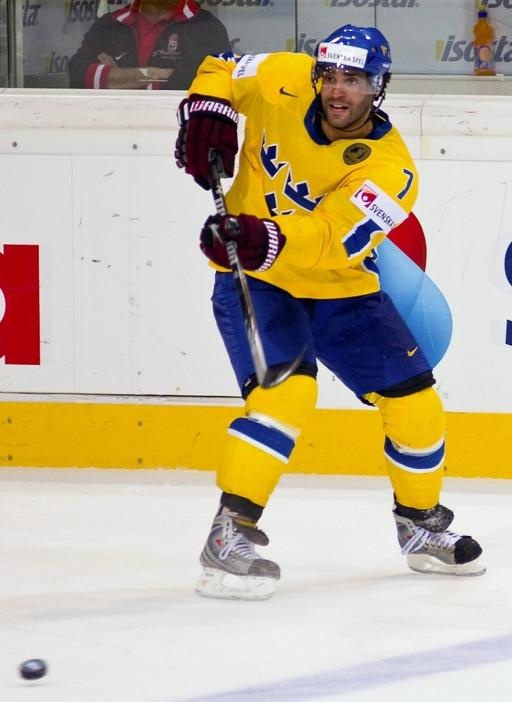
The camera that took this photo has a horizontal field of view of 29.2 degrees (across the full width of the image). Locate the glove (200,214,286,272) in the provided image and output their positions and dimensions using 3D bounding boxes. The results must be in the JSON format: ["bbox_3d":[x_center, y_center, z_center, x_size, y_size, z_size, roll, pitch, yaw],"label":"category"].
[{"bbox_3d":[-0.025,-0.226,2.083,0.161,0.116,0.140,-1,9,-16],"label":"glove"}]

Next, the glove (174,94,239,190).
[{"bbox_3d":[-0.117,-0.495,2.419,0.119,0.215,0.193,0,-2,-35],"label":"glove"}]

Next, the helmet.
[{"bbox_3d":[0.229,-0.650,2.211,0.175,0.155,0.188,14,24,27],"label":"helmet"}]
